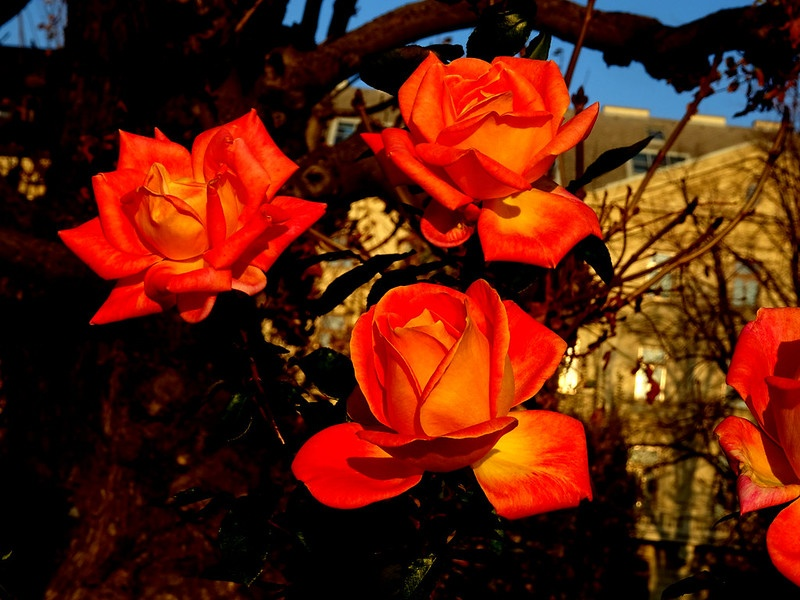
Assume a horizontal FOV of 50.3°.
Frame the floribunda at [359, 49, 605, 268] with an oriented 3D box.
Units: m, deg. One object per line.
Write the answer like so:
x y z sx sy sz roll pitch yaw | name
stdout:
0.140 -0.235 1.394 0.341 0.231 0.374 -2 59 15 | floribunda

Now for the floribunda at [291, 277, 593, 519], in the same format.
0.091 0.150 1.368 0.464 0.347 0.245 12 25 -6 | floribunda

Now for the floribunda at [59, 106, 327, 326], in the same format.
-0.317 -0.058 1.499 0.378 0.180 0.404 1 60 26 | floribunda
